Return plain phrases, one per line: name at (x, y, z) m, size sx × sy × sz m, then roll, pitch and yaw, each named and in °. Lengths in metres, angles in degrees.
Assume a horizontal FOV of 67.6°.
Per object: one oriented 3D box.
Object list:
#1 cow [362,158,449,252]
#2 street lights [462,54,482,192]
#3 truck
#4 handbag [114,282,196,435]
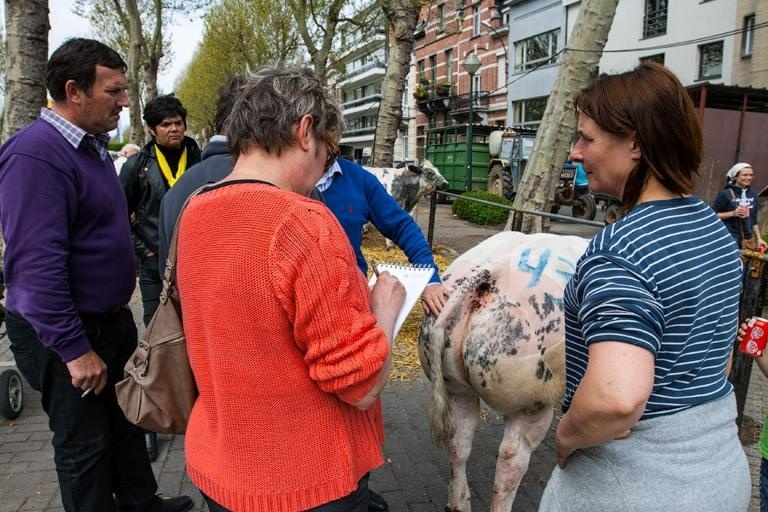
cow at (0.101, -1.072, 11.594) m, size 2.486 × 1.465 × 0.716 m, roll 0°, pitch 2°, yaw 27°
street lights at (2.893, -4.481, 19.186) m, size 0.663 × 4.368 × 0.669 m, roll 4°, pitch 8°, yaw 25°
truck at (4.342, -3.105, 18.968) m, size 2.805 × 3.027 × 7.334 m, roll -4°, pitch 12°, yaw -23°
handbag at (-1.101, 0.492, 2.729) m, size 0.405 × 0.756 × 0.135 m, roll 4°, pitch 9°, yaw 16°
